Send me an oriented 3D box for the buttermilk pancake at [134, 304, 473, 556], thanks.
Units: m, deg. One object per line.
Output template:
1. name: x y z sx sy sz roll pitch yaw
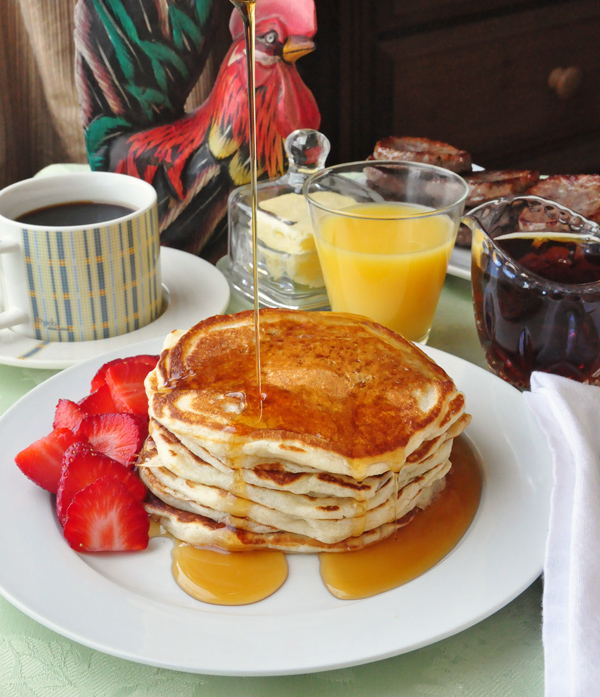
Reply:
1. buttermilk pancake: -0.017 0.120 0.785 0.291 0.103 0.281 25 43 27

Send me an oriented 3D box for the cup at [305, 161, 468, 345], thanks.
1. cup: 0.133 -0.172 1.208 0.329 0.295 0.297 -2 32 -1

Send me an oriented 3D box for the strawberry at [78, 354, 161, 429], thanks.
1. strawberry: -0.225 0.053 0.866 0.085 0.022 0.080 -30 59 -35
